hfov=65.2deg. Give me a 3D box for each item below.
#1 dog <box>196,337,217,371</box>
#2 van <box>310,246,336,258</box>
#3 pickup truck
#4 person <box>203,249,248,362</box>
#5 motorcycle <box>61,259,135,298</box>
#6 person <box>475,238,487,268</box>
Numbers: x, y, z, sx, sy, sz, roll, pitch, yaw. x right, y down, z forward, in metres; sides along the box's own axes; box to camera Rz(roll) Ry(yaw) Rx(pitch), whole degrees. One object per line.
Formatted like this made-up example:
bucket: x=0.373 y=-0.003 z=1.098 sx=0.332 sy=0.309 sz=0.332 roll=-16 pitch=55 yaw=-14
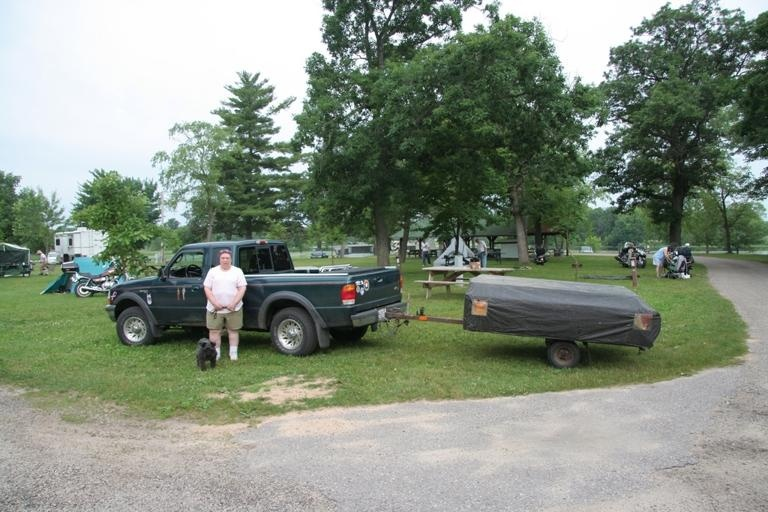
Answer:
dog: x=-3.901 y=2.105 z=13.117 sx=0.531 sy=0.585 sz=0.497 roll=3 pitch=1 yaw=32
van: x=-8.754 y=-0.747 z=85.934 sx=2.946 sy=0.823 sz=2.037 roll=-3 pitch=2 yaw=0
pickup truck: x=-3.149 y=0.924 z=15.095 sx=6.418 sy=2.113 sz=3.225 roll=1 pitch=-1 yaw=18
person: x=-3.545 y=1.080 z=13.517 sx=0.912 sy=2.393 sz=0.730 roll=-6 pitch=16 yaw=-16
motorcycle: x=-11.886 y=0.851 z=25.074 sx=2.490 sy=1.391 sz=1.488 roll=-4 pitch=-4 yaw=-11
person: x=4.942 y=-0.201 z=30.848 sx=0.777 sy=0.710 sz=2.096 roll=-6 pitch=21 yaw=11
